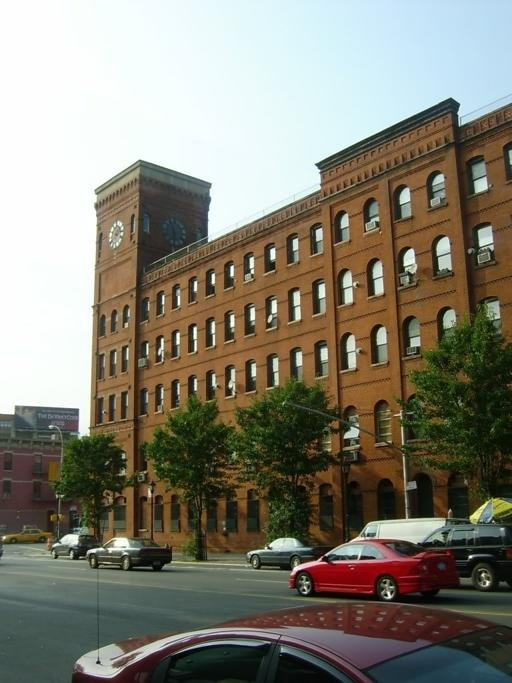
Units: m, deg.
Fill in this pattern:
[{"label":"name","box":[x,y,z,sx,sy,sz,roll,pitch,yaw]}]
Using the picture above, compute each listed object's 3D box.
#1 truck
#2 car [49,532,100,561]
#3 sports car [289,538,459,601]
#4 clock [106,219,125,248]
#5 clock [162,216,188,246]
[{"label":"truck","box":[4.559,5.638,23.560,2.954,1.345,1.516,-4,-16,23]},{"label":"car","box":[-9.610,10.798,41.145,1.406,1.056,3.018,9,-16,-39]},{"label":"sports car","box":[2.184,4.477,15.750,3.057,0.946,1.411,-14,-23,41]},{"label":"clock","box":[-10.211,-7.905,56.919,0.206,1.823,1.861,5,-40,-32]},{"label":"clock","box":[-5.901,-7.936,56.130,0.242,2.213,2.124,-17,-21,39]}]
